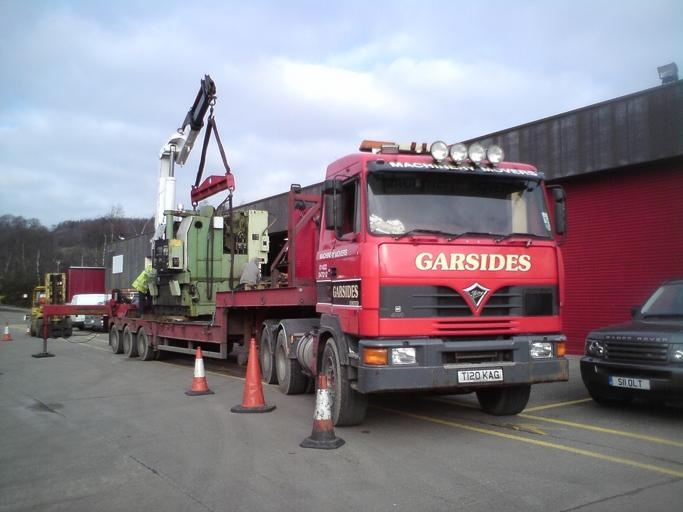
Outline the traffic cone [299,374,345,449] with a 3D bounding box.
[{"bbox_3d":[-0.244,2.122,7.610,0.763,1.183,0.814,0,-9,-6],"label":"traffic cone"}]
